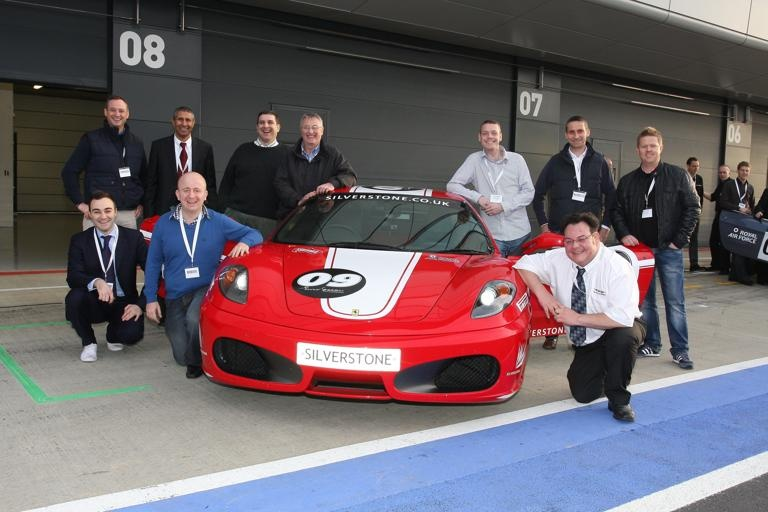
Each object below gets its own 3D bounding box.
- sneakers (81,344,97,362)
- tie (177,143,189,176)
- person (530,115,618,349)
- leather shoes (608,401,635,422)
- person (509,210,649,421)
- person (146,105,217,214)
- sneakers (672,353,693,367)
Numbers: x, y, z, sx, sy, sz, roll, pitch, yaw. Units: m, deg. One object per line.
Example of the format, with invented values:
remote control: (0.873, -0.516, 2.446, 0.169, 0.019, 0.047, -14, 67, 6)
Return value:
sneakers: (-2.670, 0.871, 4.527, 0.137, 0.132, 0.178, -4, 10, -32)
tie: (-2.396, -1.147, 5.950, 0.126, 0.399, 0.094, -1, 8, -15)
person: (2.088, -0.262, 5.584, 0.923, 2.521, 0.557, 0, 1, 25)
leather shoes: (1.750, 1.151, 3.716, 0.079, 0.101, 0.226, -3, -2, -5)
person: (1.620, 0.465, 4.001, 0.834, 1.480, 0.927, -5, -1, -36)
person: (-2.420, -0.702, 6.071, 0.842, 2.090, 0.477, 0, 7, -17)
sneakers: (2.895, 1.004, 4.847, 0.148, 0.115, 0.228, 3, 8, 7)
